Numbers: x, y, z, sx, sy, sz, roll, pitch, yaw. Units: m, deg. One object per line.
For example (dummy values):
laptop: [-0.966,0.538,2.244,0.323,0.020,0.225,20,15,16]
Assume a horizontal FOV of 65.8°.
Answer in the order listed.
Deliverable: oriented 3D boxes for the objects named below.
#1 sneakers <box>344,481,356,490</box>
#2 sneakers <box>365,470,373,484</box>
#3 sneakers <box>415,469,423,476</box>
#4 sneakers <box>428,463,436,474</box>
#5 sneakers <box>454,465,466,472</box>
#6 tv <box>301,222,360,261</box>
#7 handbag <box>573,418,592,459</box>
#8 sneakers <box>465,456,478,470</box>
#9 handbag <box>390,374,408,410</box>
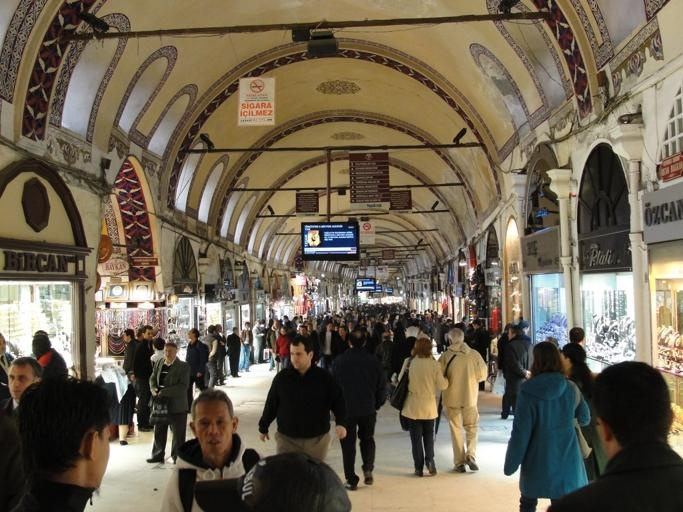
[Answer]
sneakers: [0.115,2.577,5.928,0.138,0.074,0.197,0,-8,-1]
sneakers: [0.318,2.556,6.095,0.108,0.124,0.186,-1,-8,3]
sneakers: [0.923,2.562,6.237,0.041,0.058,0.126,0,-2,2]
sneakers: [1.093,2.535,6.311,0.100,0.128,0.209,-3,-9,18]
sneakers: [1.436,2.556,6.363,0.145,0.078,0.116,-1,-8,2]
tv: [-0.327,-0.402,17.394,1.949,1.637,1.116,0,-4,2]
handbag: [2.035,1.550,4.429,0.078,0.425,0.607,-4,-9,28]
sneakers: [1.609,2.522,6.416,0.152,0.154,0.165,2,-8,-16]
handbag: [0.694,1.651,6.456,0.201,0.476,0.452,0,-8,-3]
